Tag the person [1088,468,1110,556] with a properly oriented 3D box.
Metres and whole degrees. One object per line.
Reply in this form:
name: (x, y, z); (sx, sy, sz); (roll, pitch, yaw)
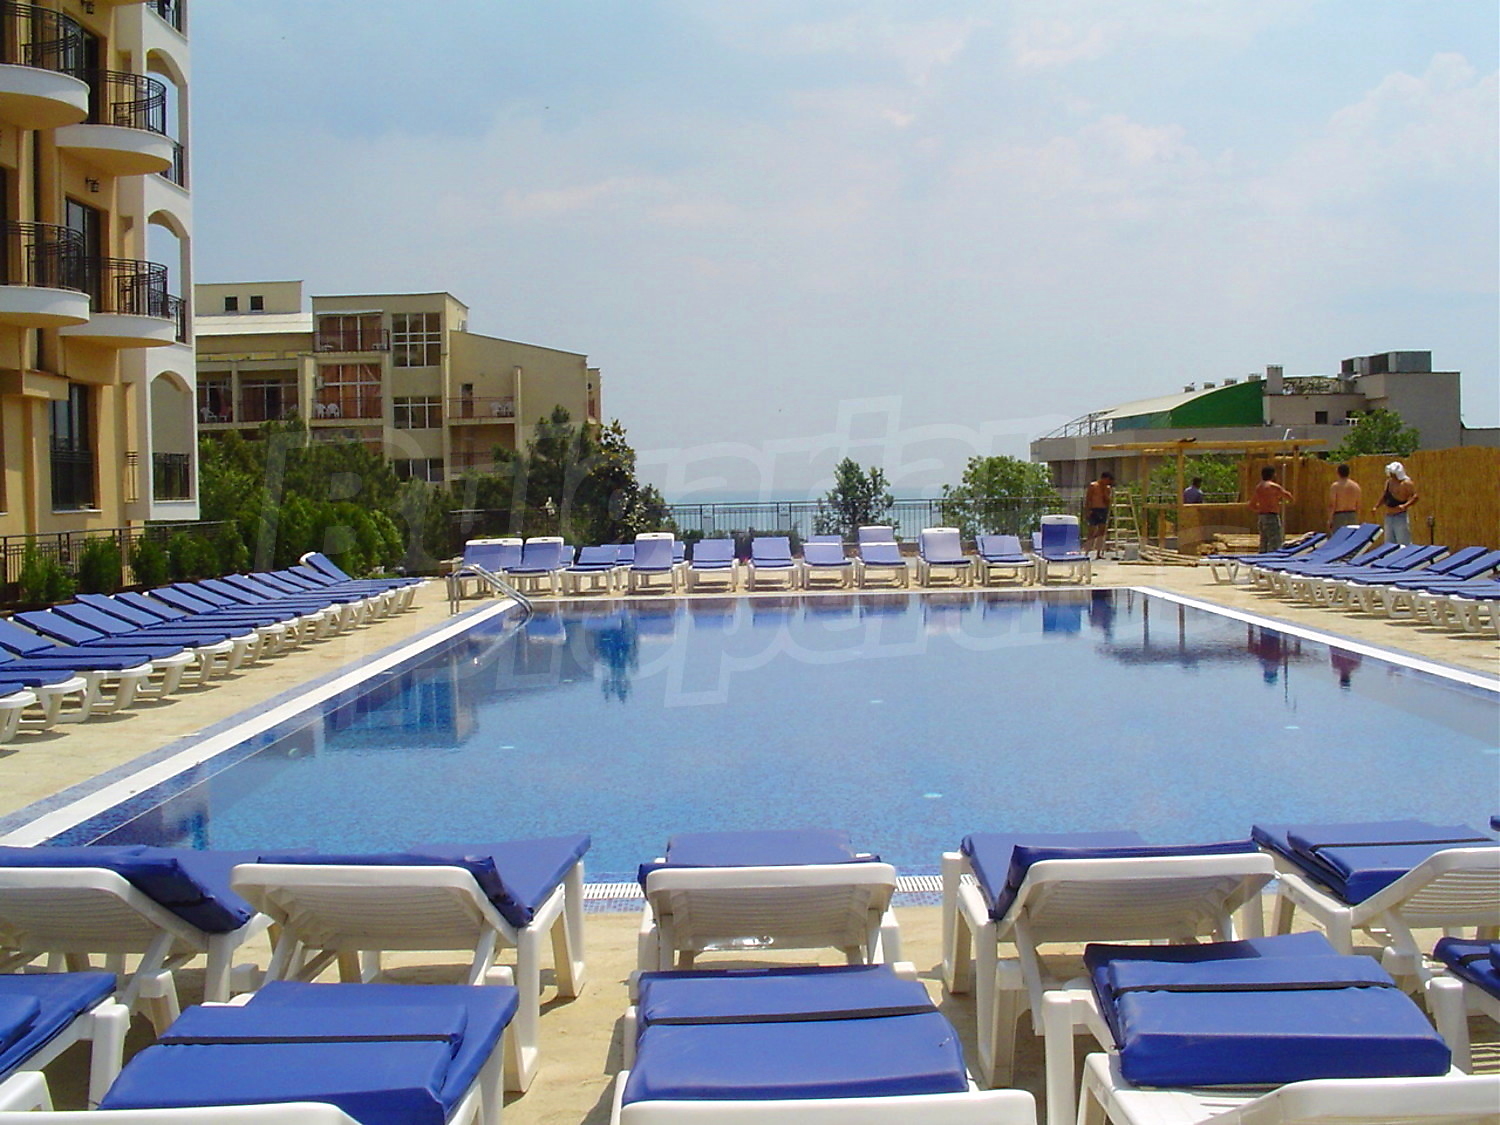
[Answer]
person: (6.772, -0.959, 27.172); (0.414, 1.589, 1.898); (1, 4, 15)
